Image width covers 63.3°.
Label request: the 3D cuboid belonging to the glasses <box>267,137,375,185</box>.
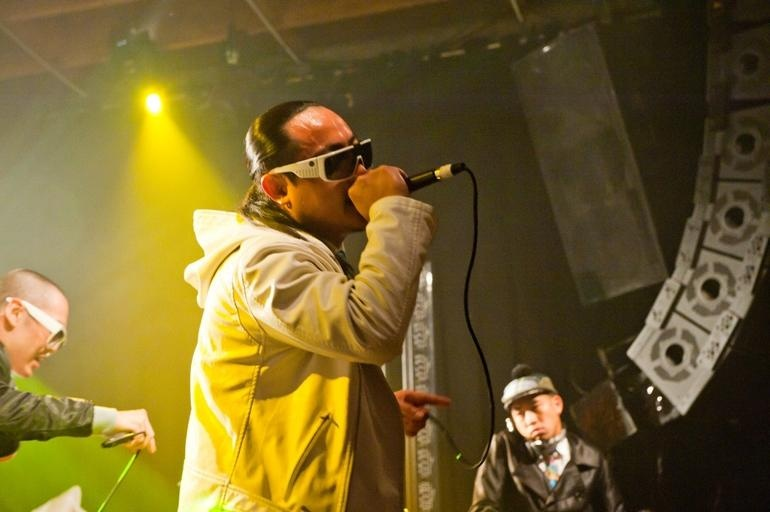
[{"bbox_3d":[-0.230,-0.366,2.506,0.259,0.084,0.228,-8,12,21],"label":"glasses"}]

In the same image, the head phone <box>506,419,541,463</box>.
[{"bbox_3d":[0.770,1.013,3.397,0.208,0.050,0.151,50,-31,10],"label":"head phone"}]
